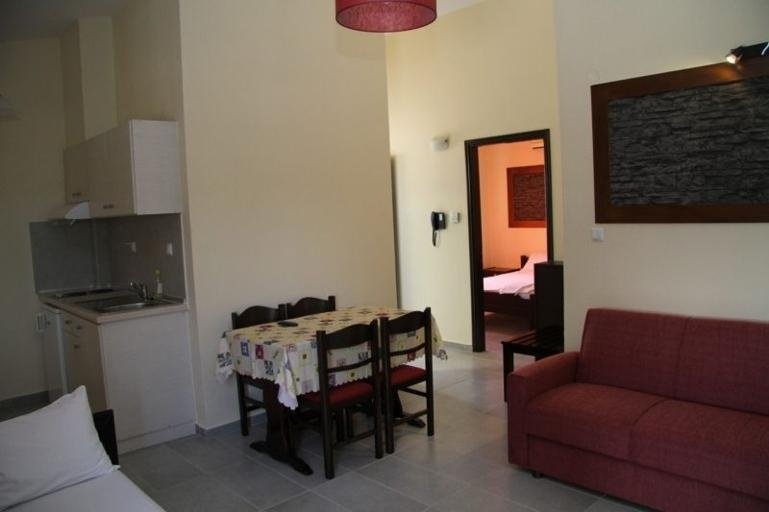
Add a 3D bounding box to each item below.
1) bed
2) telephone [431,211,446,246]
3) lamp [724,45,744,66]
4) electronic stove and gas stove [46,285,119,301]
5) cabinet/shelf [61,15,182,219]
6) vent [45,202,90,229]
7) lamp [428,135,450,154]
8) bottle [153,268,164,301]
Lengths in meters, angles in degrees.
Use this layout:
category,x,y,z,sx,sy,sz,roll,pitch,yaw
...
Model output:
category,x,y,z,sx,sy,sz,roll,pitch,yaw
bed,1.917,0.463,8.024,0.728,0.561,1.216,2,4,36
telephone,0.641,-0.335,7.045,0.198,0.374,0.112,4,1,26
lamp,2.575,-1.473,4.238,0.047,0.120,0.084,-1,31,-49
electronic stove and gas stove,-3.102,0.383,5.920,0.279,0.066,0.462,0,2,33
cabinet/shelf,-2.425,-1.301,5.228,1.561,1.847,0.582,10,17,43
vent,-3.332,-0.439,5.953,0.371,0.094,0.376,13,32,39
lamp,0.661,-1.345,6.951,0.197,0.202,0.047,13,10,28
bottle,-2.130,0.250,5.373,0.081,0.246,0.224,-8,14,-29
